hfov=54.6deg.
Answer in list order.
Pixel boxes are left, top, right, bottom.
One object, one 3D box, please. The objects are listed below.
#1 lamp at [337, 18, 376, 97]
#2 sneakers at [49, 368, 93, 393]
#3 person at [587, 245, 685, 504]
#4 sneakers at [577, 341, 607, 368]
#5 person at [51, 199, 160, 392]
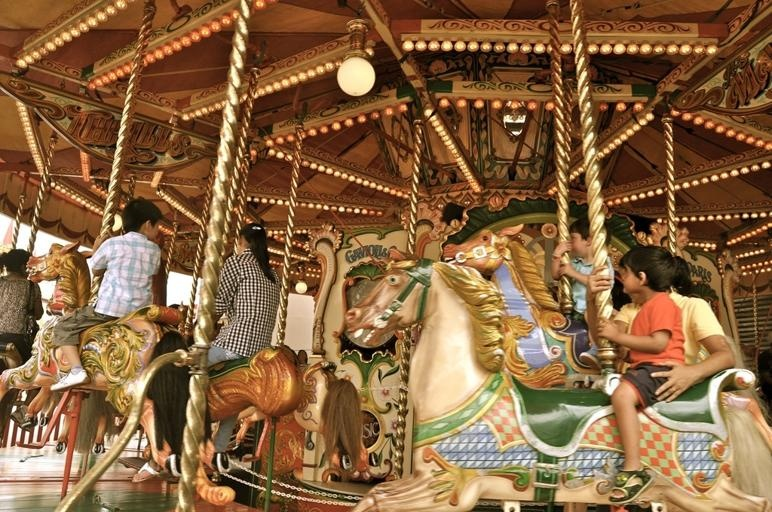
[{"bbox_3d":[-0.321,-2.262,8.429,0.396,0.898,0.447,1,-19,-3],"label":"lamp"},{"bbox_3d":[-2.905,1.138,7.024,0.478,0.200,0.160,-24,-17,23],"label":"sneakers"},{"bbox_3d":[2.072,0.898,5.932,0.707,2.009,0.321,-5,-19,14],"label":"person"},{"bbox_3d":[1.885,0.910,6.841,0.136,0.161,0.393,8,-17,16],"label":"sneakers"},{"bbox_3d":[-2.671,0.318,7.209,0.878,1.900,0.495,6,-20,-17],"label":"person"}]
